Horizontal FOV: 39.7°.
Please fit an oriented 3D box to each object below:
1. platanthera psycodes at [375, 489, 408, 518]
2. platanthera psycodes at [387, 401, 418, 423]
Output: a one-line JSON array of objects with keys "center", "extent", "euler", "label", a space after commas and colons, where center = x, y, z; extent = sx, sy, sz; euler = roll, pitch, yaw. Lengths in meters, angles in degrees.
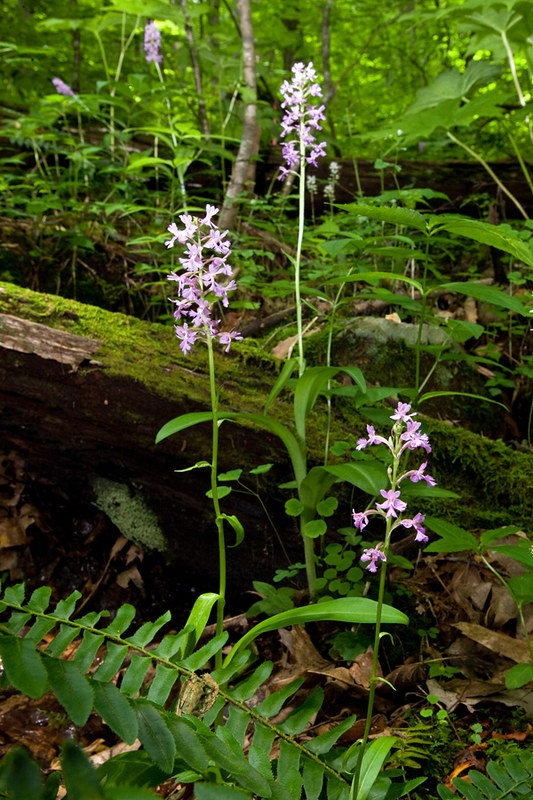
[{"center": [0.347, 0.279, 2.028], "extent": [0.110, 0.095, 0.032], "euler": [-2, 11, 27], "label": "platanthera psycodes"}, {"center": [0.478, 0.044, 2.600], "extent": [0.096, 0.036, 0.092], "euler": [6, -29, -41], "label": "platanthera psycodes"}]
